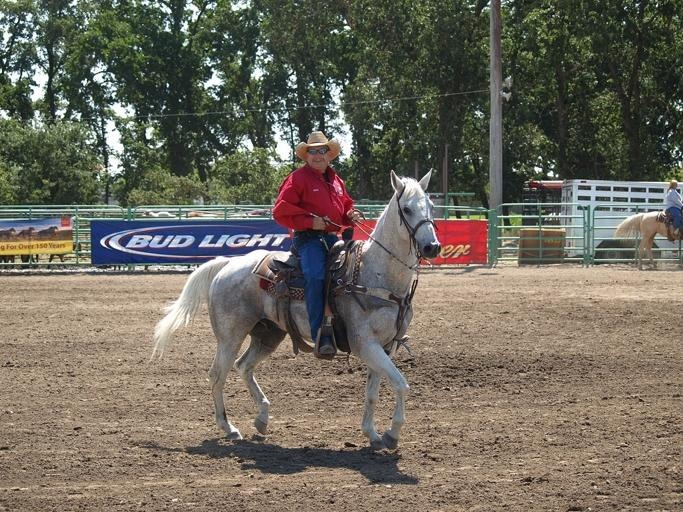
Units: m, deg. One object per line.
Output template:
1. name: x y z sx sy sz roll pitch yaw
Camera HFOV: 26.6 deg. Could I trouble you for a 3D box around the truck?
1. truck: 12.484 -1.691 68.563 7.257 3.759 4.312 -1 3 -6
